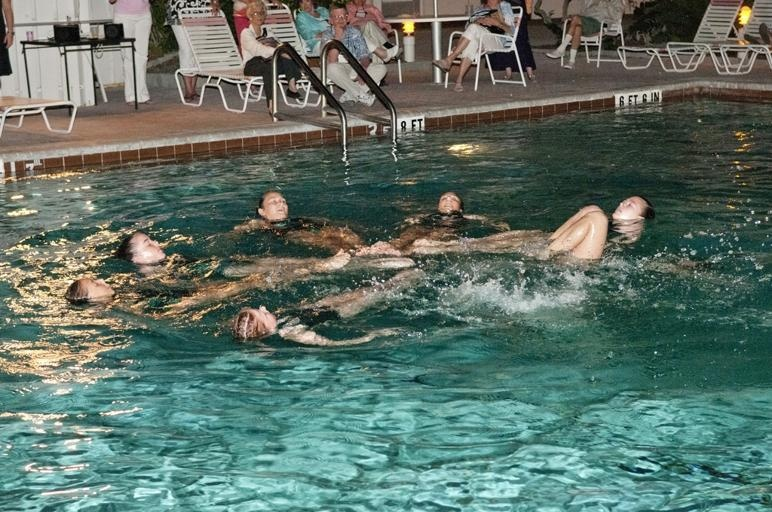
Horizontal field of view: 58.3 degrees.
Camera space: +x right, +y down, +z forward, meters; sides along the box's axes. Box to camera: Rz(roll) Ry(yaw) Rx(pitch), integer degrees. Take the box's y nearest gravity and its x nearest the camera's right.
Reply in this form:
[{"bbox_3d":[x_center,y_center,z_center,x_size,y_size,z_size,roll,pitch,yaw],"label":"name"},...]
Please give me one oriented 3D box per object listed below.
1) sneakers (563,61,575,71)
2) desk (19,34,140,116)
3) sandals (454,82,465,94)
[{"bbox_3d":[4.498,-4.652,16.867,0.203,0.172,0.525,12,11,39],"label":"sneakers"},{"bbox_3d":[-5.869,-3.643,13.312,1.459,0.785,1.452,7,22,22],"label":"desk"},{"bbox_3d":[1.492,-3.394,13.955,0.172,0.110,0.376,-1,8,3],"label":"sandals"}]
